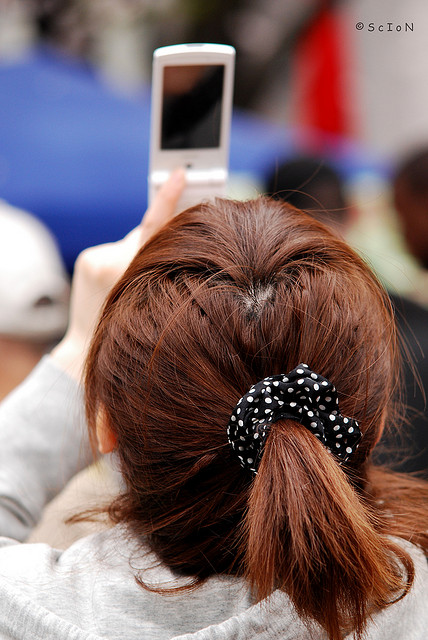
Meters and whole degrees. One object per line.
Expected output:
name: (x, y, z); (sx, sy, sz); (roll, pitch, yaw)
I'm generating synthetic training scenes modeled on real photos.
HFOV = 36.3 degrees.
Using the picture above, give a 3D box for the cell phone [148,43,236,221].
cell phone: (-0.044, -0.323, 1.124); (0.160, 0.266, 0.155); (-1, 46, 2)

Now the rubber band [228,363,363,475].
rubber band: (0.081, 0.102, 0.691); (0.137, 0.104, 0.076); (-7, 46, -4)
